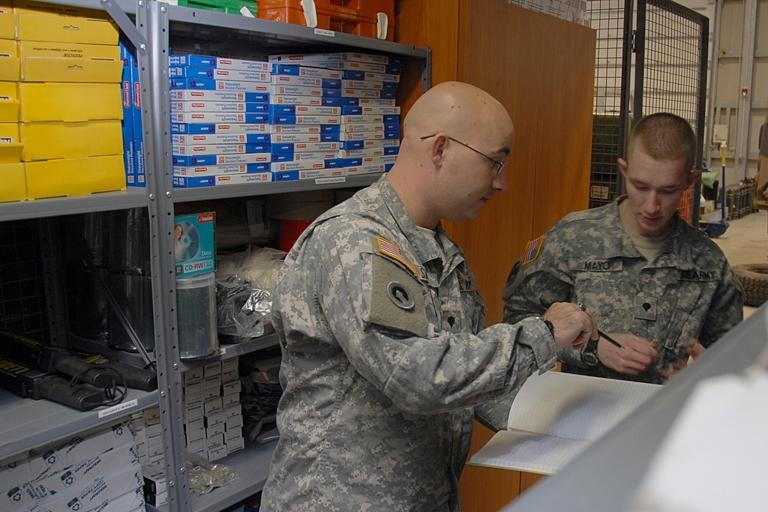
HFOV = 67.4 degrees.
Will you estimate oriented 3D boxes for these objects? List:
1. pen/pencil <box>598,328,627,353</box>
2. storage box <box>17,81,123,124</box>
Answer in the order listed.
[{"bbox_3d":[0.742,0.275,1.865,0.125,0.018,0.020,37,6,-13],"label":"pen/pencil"},{"bbox_3d":[-0.961,-0.482,1.865,0.299,0.114,0.232,-3,4,-5],"label":"storage box"}]
